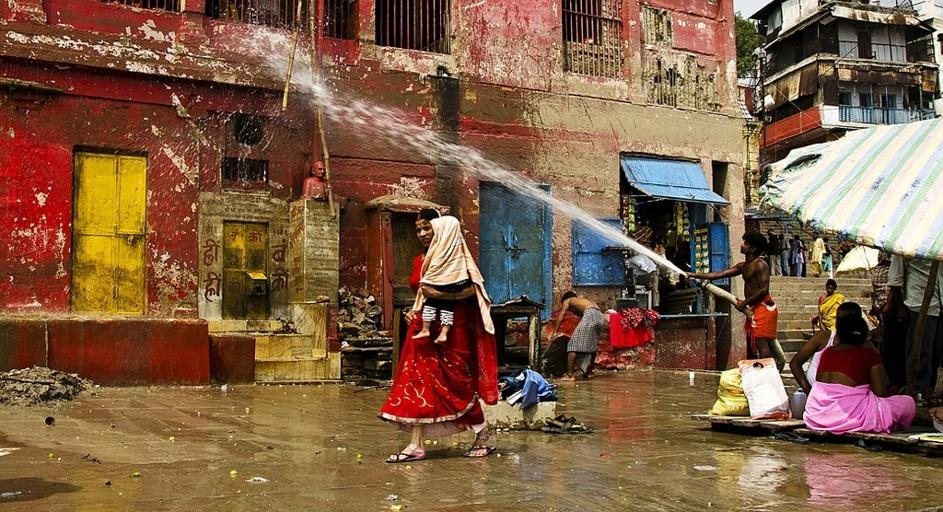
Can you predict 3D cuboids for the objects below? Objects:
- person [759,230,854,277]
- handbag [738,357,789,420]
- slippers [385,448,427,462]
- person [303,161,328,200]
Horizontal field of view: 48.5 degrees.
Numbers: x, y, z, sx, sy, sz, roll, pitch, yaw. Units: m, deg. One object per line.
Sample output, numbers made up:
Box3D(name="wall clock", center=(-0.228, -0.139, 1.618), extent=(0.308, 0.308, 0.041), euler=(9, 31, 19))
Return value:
Box3D(name="person", center=(10.909, -0.030, 34.097), extent=(1.620, 1.437, 0.373), euler=(0, -17, -9))
Box3D(name="handbag", center=(5.393, 2.404, 19.281), extent=(0.983, 1.064, 0.514), euler=(4, 11, 14))
Box3D(name="slippers", center=(-1.124, 3.365, 17.799), extent=(0.596, 0.136, 0.254), euler=(3, -11, -15))
Box3D(name="person", center=(-3.681, -1.794, 24.648), extent=(0.518, 0.844, 0.599), euler=(-1, 11, -8))
